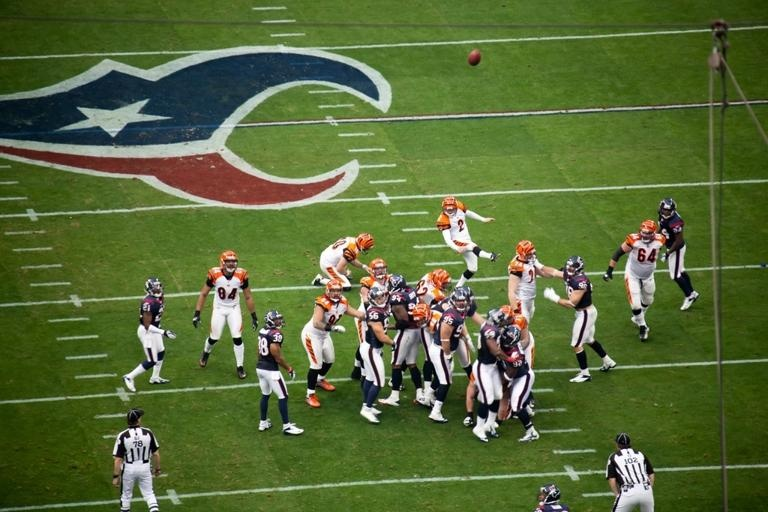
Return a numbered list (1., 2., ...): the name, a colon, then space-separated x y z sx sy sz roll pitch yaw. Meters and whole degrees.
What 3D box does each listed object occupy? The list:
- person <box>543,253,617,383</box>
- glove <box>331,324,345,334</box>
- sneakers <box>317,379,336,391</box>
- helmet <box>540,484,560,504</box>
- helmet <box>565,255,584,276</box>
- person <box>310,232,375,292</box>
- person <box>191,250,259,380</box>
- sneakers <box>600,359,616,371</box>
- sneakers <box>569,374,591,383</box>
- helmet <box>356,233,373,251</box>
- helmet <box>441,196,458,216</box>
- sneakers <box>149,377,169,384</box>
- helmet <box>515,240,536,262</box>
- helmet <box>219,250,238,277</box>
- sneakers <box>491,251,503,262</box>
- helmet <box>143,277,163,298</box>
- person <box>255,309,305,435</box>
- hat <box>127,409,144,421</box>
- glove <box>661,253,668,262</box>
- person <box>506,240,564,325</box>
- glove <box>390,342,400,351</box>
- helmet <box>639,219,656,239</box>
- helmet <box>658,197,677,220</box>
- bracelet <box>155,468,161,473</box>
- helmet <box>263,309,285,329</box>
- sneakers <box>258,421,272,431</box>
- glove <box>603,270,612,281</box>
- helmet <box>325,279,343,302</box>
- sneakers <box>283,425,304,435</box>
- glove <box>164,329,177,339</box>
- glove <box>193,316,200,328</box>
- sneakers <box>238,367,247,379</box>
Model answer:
1. person: 3.939 1.244 28.161 1.334 2.475 1.270 -1 1 8
2. glove: -0.891 1.401 27.193 0.212 0.061 0.177 14 1 36
3. sneakers: -1.147 2.533 27.824 0.419 0.144 0.177 15 23 -1
4. helmet: 2.905 4.075 24.291 0.397 0.281 0.267 15 7 17
5. helmet: 3.763 0.186 27.748 0.471 0.351 0.333 8 16 10
6. person: -0.872 0.149 29.849 1.450 1.145 0.906 0 23 -13
7. person: -3.178 1.167 28.127 1.184 2.497 0.705 -1 1 13
8. sneakers: 4.471 2.176 28.099 0.245 0.084 0.247 29 -23 -25
9. sneakers: 3.884 2.408 27.852 0.383 0.116 0.175 -1 5 0
10. helmet: -0.398 -0.311 29.292 0.410 0.310 0.304 12 21 34
11. helmet: 1.397 -1.087 30.125 0.390 0.340 0.396 -2 21 5
12. sneakers: -4.453 2.450 27.808 0.401 0.128 0.117 0 49 -12
13. helmet: 2.819 -0.112 28.141 0.539 0.395 0.376 0 8 14
14. helmet: -3.026 0.135 28.026 0.447 0.442 0.537 2 -2 -22
15. sneakers: 2.353 0.009 29.654 0.186 0.075 0.246 34 -45 -22
16. helmet: -4.456 0.609 27.577 0.500 0.323 0.329 9 8 13
17. person: -2.034 2.206 26.717 0.771 2.370 0.646 -1 1 -4
18. hat: -4.483 2.832 25.292 0.245 0.207 0.422 -1 1 -12
19. glove: 5.967 0.019 29.988 0.087 0.147 0.213 12 40 9
20. person: 3.094 0.612 28.905 1.515 2.101 0.805 -2 38 8
21. glove: 0.204 1.752 27.205 0.150 0.095 0.168 1 -37 3
22. helmet: 5.353 -0.541 28.873 0.383 0.323 0.437 9 7 22
23. helmet: 5.992 -0.984 29.790 0.416 0.405 0.462 16 44 23
24. bracelet: -4.091 3.849 25.325 0.088 0.093 0.044 7 31 7
25. helmet: -2.072 1.175 26.569 0.407 0.256 0.268 -1 10 1
26. sneakers: -2.276 3.226 26.851 0.116 0.152 0.315 18 23 37
27. glove: 4.704 0.407 29.317 0.262 0.195 0.162 2 29 0
28. helmet: -0.961 0.662 27.146 0.354 0.290 0.405 2 3 -17
29. sneakers: -1.730 3.292 26.738 0.357 0.116 0.177 3 12 11
30. glove: -4.145 1.522 27.427 0.162 0.068 0.206 18 -1 13
31. glove: -3.778 1.337 28.335 0.238 0.185 0.093 -2 2 -13
32. sneakers: -2.838 2.307 28.060 0.192 0.263 0.237 -1 1 -17
